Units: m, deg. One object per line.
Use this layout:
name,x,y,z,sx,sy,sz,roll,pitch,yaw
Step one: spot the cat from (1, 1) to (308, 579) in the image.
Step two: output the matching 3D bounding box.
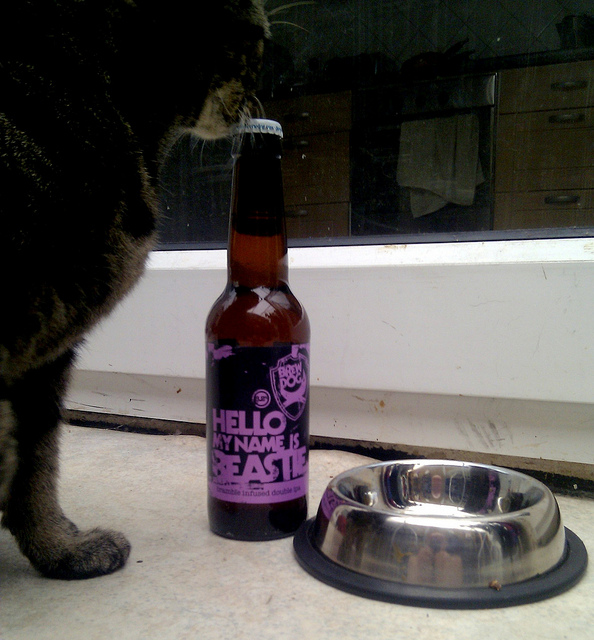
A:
cat,-0.221,-0.078,0.876,0.185,0.720,0.398,4,8,37

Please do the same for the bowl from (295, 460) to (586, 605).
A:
bowl,0.179,0.243,0.799,0.361,0.095,0.283,-1,6,3
